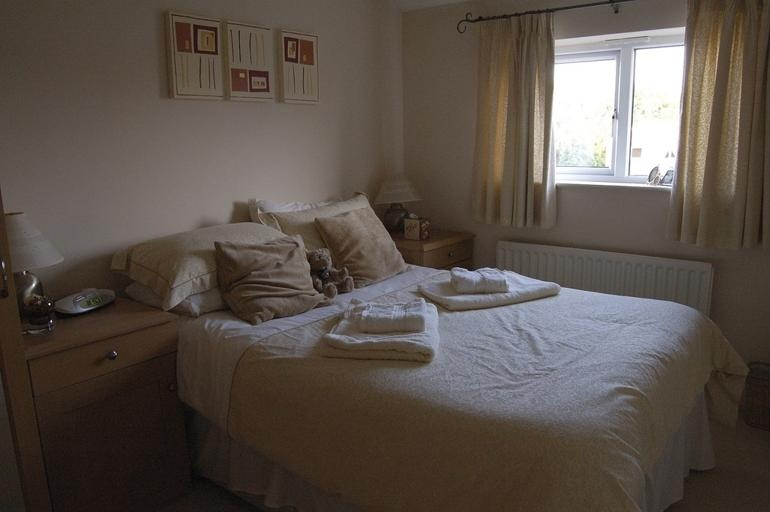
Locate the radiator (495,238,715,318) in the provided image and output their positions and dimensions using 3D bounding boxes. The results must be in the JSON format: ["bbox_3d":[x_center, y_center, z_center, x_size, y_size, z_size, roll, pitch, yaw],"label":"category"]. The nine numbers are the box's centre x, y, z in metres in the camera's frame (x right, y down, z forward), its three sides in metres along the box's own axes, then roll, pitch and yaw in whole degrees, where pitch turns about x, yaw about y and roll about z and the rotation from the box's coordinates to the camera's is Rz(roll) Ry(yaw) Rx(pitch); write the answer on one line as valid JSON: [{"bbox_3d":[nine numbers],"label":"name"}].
[{"bbox_3d":[1.656,0.192,3.951,0.705,0.046,1.388,-5,13,41],"label":"radiator"}]

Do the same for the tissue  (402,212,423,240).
[{"bbox_3d":[0.223,-0.238,4.393,0.176,0.268,0.182,1,5,17],"label":"tissue "}]

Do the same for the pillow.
[{"bbox_3d":[-0.835,-0.078,3.521,1.387,0.427,0.839,-14,24,-37],"label":"pillow"}]

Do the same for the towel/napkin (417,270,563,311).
[{"bbox_3d":[0.649,0.226,3.307,0.484,0.073,0.395,-6,12,-22],"label":"towel/napkin"}]

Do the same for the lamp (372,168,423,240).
[{"bbox_3d":[0.108,-0.442,4.656,0.481,0.498,0.489,5,12,33],"label":"lamp"}]

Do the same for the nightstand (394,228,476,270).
[{"bbox_3d":[0.388,-0.194,4.445,0.326,0.502,0.524,5,13,35],"label":"nightstand"}]

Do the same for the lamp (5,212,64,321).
[{"bbox_3d":[-1.887,0.018,2.960,0.233,0.532,0.371,-11,15,-30],"label":"lamp"}]

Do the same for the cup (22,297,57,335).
[{"bbox_3d":[-1.803,0.295,2.871,0.177,0.210,0.181,1,1,0],"label":"cup"}]
